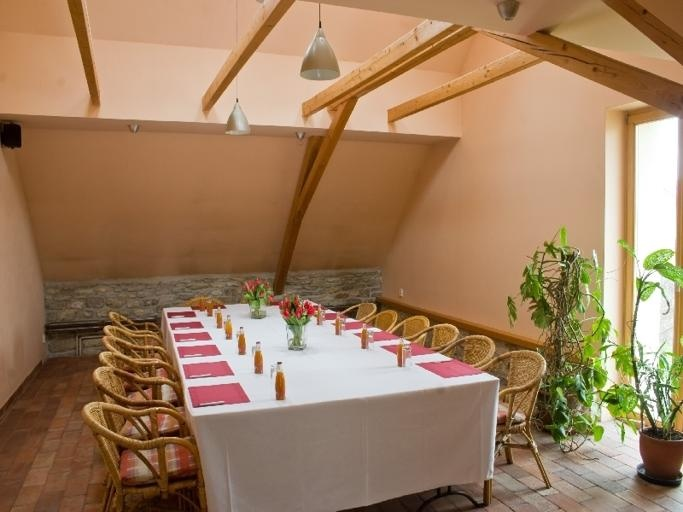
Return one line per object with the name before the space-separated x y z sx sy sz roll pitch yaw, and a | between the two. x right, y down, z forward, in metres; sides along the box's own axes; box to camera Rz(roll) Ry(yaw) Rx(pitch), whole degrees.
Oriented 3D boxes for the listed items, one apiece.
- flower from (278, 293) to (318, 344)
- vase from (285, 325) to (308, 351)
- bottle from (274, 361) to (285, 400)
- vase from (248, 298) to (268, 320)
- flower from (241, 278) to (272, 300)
flower | -0.377 0.560 4.397 0.389 0.559 0.417 0 0 23
vase | -0.392 0.708 4.185 0.188 0.300 0.207 1 -4 -6
bottle | -0.393 0.795 3.111 0.067 0.202 0.250 2 8 -7
vase | -0.962 0.617 5.579 0.232 0.256 0.200 1 -5 0
flower | -0.987 0.369 5.723 0.315 0.397 0.368 0 -15 -4
